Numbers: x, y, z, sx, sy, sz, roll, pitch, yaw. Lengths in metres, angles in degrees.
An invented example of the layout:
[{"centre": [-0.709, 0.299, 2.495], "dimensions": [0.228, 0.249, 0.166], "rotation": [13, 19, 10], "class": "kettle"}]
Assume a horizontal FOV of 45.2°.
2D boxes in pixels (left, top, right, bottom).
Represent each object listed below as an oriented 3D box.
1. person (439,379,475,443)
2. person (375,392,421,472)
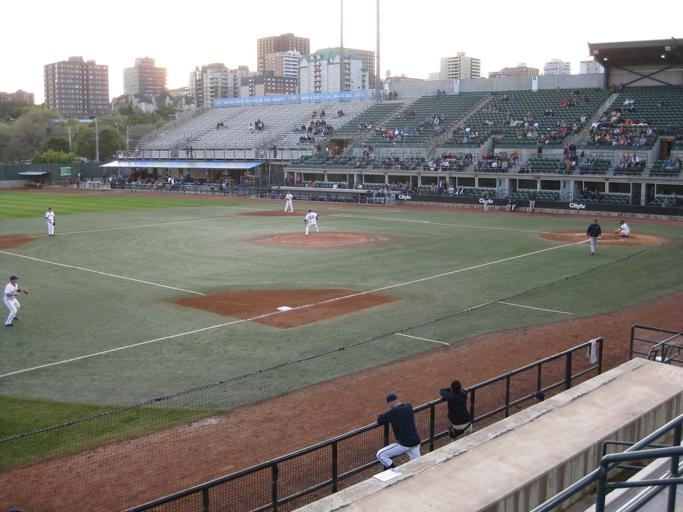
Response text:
[{"centre": [2.559, 3.480, 18.389], "dimensions": [0.714, 1.393, 0.577], "rotation": [0, 12, 6], "class": "person"}, {"centre": [1.239, 3.888, 17.741], "dimensions": [0.936, 1.718, 1.404], "rotation": [0, 11, 5], "class": "person"}]
